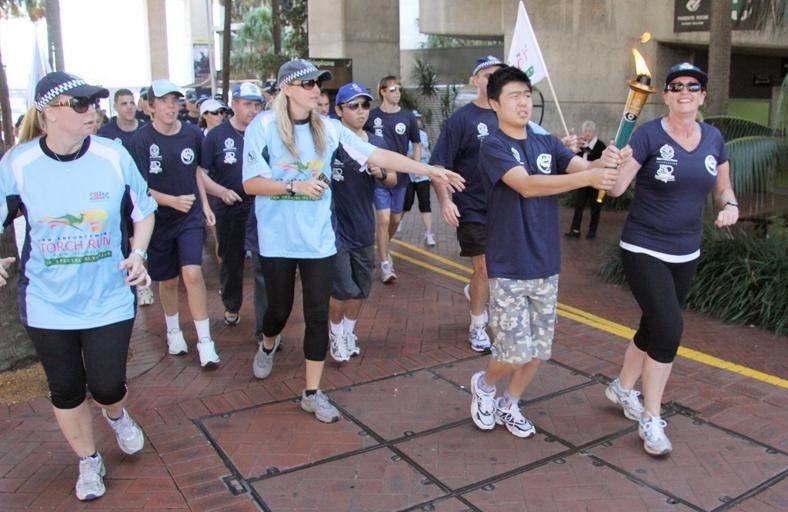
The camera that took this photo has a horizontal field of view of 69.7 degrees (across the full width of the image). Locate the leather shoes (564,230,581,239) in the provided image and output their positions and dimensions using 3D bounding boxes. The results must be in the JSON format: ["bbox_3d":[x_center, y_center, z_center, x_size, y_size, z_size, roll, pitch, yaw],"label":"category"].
[{"bbox_3d":[3.662,-0.448,11.467,0.349,0.177,0.127,1,7,-8],"label":"leather shoes"}]

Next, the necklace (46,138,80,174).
[{"bbox_3d":[-2.255,-0.679,3.819,0.198,0.185,0.047,-15,-15,-28],"label":"necklace"}]

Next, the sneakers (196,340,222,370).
[{"bbox_3d":[-1.960,1.012,5.947,0.196,0.281,0.212,-11,22,-21],"label":"sneakers"}]

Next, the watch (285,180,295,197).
[{"bbox_3d":[-0.850,-0.560,4.650,0.070,0.105,0.110,4,-7,2],"label":"watch"}]

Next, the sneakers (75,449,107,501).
[{"bbox_3d":[-2.173,1.594,4.068,0.159,0.180,0.414,-2,3,-24],"label":"sneakers"}]

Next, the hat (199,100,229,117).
[{"bbox_3d":[-3.083,-2.504,9.433,0.341,0.189,0.468,-10,15,-36],"label":"hat"}]

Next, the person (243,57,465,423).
[{"bbox_3d":[-0.669,-0.186,5.134,1.150,3.042,1.262,-20,27,-39],"label":"person"}]

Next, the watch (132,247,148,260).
[{"bbox_3d":[-1.838,-0.026,4.037,0.096,0.063,0.093,26,-1,12],"label":"watch"}]

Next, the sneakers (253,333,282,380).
[{"bbox_3d":[-1.278,1.059,5.732,0.198,0.527,0.207,13,1,-17],"label":"sneakers"}]

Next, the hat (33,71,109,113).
[{"bbox_3d":[-2.199,-1.116,3.811,0.551,0.253,0.283,-6,21,-11],"label":"hat"}]

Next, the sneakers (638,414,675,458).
[{"bbox_3d":[2.075,1.388,4.409,0.167,0.179,0.364,-3,13,-2],"label":"sneakers"}]

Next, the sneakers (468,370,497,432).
[{"bbox_3d":[0.750,1.195,4.755,0.209,0.480,0.217,-4,-6,-15],"label":"sneakers"}]

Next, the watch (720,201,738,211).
[{"bbox_3d":[2.747,-0.427,4.591,0.098,0.063,0.092,-7,-17,8],"label":"watch"}]

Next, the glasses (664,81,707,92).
[{"bbox_3d":[2.249,-1.306,4.341,0.270,0.073,0.113,4,21,14],"label":"glasses"}]

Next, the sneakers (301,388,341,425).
[{"bbox_3d":[-0.627,1.291,4.985,0.393,0.185,0.192,15,16,33],"label":"sneakers"}]

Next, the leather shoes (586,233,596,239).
[{"bbox_3d":[3.974,-0.413,11.339,0.117,0.139,0.330,-3,2,23],"label":"leather shoes"}]

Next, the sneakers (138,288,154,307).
[{"bbox_3d":[-3.449,0.559,7.843,0.168,0.135,0.307,-9,25,-28],"label":"sneakers"}]

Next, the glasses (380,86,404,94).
[{"bbox_3d":[-0.067,-2.560,8.689,0.198,0.066,0.201,-9,9,-23],"label":"glasses"}]

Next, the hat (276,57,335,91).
[{"bbox_3d":[-0.771,-1.518,4.771,0.391,0.180,0.278,-9,14,11],"label":"hat"}]

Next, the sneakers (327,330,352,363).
[{"bbox_3d":[-0.573,0.944,5.994,0.153,0.154,0.396,0,27,-24],"label":"sneakers"}]

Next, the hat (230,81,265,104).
[{"bbox_3d":[-1.773,-1.949,6.781,0.325,0.239,0.438,-12,26,-38],"label":"hat"}]

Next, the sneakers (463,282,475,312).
[{"bbox_3d":[0.938,0.470,7.115,0.129,0.160,0.381,2,5,1],"label":"sneakers"}]
